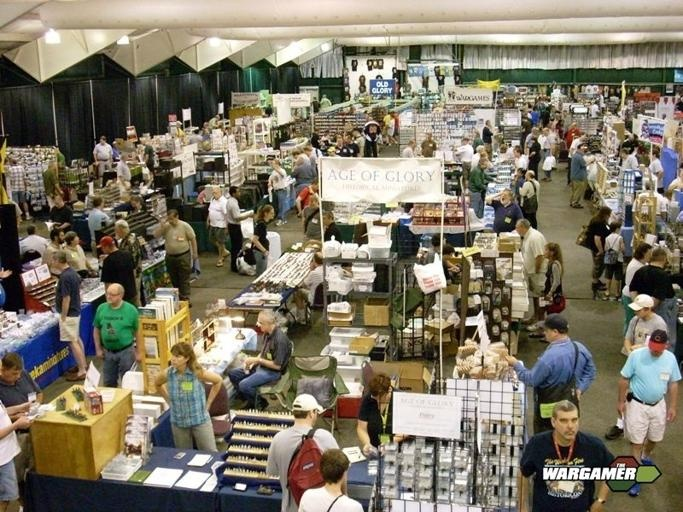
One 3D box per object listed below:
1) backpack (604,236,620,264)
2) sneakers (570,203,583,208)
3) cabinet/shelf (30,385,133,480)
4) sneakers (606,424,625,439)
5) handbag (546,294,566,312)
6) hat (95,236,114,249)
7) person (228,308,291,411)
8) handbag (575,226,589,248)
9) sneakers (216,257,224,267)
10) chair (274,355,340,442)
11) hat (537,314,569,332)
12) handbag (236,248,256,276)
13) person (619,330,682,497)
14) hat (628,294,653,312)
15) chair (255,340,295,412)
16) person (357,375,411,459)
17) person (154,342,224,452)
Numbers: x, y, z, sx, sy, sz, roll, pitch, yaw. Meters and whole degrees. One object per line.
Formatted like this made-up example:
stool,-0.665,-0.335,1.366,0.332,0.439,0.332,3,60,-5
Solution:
backpack,5.015,-0.120,10.959,0.303,0.521,0.198,-6,12,-12
sneakers,7.132,-1.536,18.070,0.314,0.149,0.148,-3,15,-9
cabinet/shelf,-2.602,1.741,6.143,0.697,0.724,1.050,1,12,8
sneakers,3.477,2.245,7.621,0.246,0.123,0.114,-1,-3,-45
handbag,3.582,0.793,10.007,0.289,0.422,0.355,0,13,13
hat,-3.716,-0.229,9.528,0.207,0.203,0.285,-9,15,-22
person,-1.097,1.455,8.200,0.715,1.433,0.676,3,5,-19
handbag,5.136,-0.403,12.738,0.158,0.436,0.360,22,37,28
sneakers,-2.803,0.133,13.935,0.101,0.121,0.307,0,5,-1
chair,-0.316,1.851,7.877,0.915,1.123,0.838,0,5,4
hat,2.216,0.702,6.181,0.216,0.133,0.166,8,19,29
handbag,-2.023,0.128,12.924,0.490,0.765,0.386,6,9,40
person,3.353,1.697,6.498,0.658,1.972,0.447,-8,13,-21
hat,3.553,0.517,7.029,0.295,0.163,0.207,-7,4,-26
chair,-0.832,1.691,7.930,0.549,0.836,0.635,0,16,0
person,0.362,1.647,6.171,0.360,0.836,0.725,-2,13,3
person,-1.667,1.537,6.449,0.693,1.298,0.540,-3,12,3
